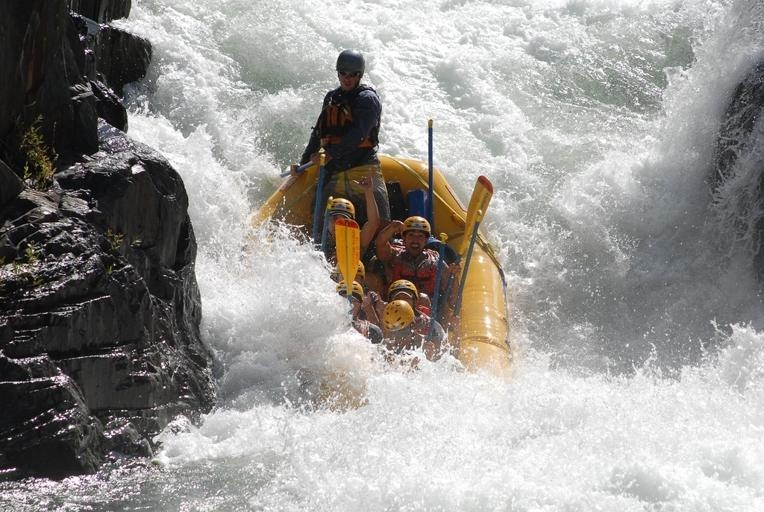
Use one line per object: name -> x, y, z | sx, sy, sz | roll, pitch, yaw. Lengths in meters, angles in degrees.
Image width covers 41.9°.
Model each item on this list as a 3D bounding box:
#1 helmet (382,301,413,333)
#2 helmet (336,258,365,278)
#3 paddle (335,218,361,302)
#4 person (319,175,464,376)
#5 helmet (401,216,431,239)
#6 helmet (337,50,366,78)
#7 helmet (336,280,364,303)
helmet -> 0.173, 0.648, 10.284 | 0.322, 0.403, 0.256 | 2, 28, 1
helmet -> -0.280, 0.146, 10.661 | 0.161, 0.242, 0.207 | 0, -4, 32
paddle -> -0.338, 0.017, 10.170 | 0.243, 0.049, 1.192 | 0, 47, -4
person -> 0.118, 0.276, 10.700 | 1.265, 2.046, 0.729 | 1, 21, 25
helmet -> 0.388, -0.338, 10.979 | 0.181, 0.283, 0.202 | 3, 6, 2
helmet -> -0.335, -2.118, 11.063 | 0.227, 0.280, 0.287 | 3, 6, 2
helmet -> -0.323, 0.367, 10.305 | 0.176, 0.251, 0.238 | 9, 42, 19
